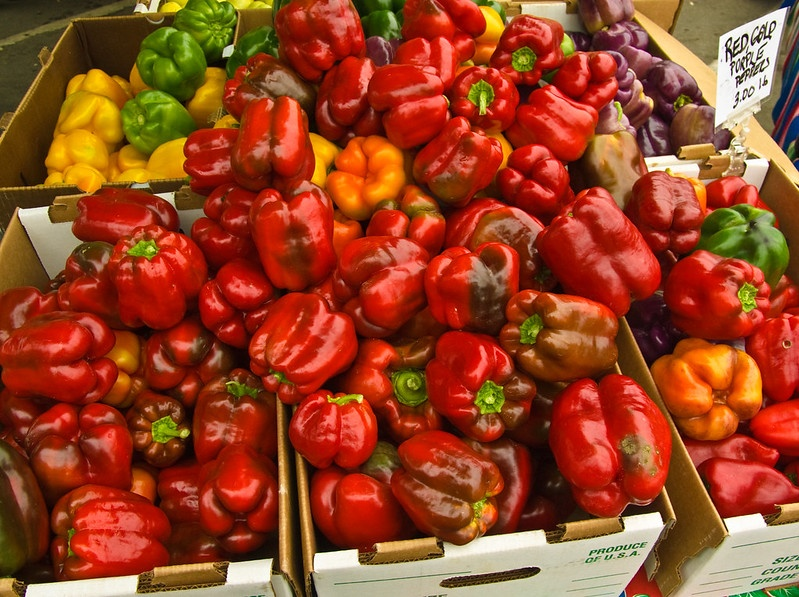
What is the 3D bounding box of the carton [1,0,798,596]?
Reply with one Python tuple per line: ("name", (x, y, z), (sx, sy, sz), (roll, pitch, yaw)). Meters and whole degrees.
("carton", (0.055, 0.044, 3.628), (2.597, 0.689, 2.526), (-7, 61, -6))
